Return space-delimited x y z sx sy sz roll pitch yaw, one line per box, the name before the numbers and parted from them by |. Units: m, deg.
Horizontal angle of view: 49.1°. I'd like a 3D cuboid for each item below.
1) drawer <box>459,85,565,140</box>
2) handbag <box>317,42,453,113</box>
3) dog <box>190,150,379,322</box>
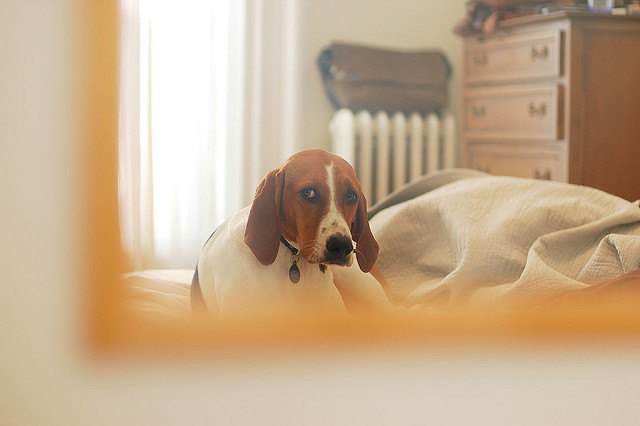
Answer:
drawer | 0.701 -0.365 2.548 0.381 0.191 0.045 5 8 32
handbag | 0.241 -0.499 2.626 0.501 0.243 0.083 0 7 -13
dog | -0.083 0.071 1.484 0.297 0.417 0.444 2 4 -27
